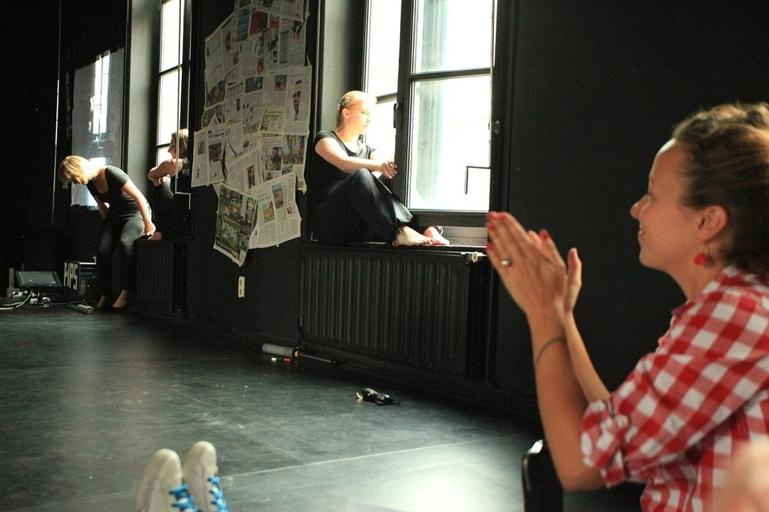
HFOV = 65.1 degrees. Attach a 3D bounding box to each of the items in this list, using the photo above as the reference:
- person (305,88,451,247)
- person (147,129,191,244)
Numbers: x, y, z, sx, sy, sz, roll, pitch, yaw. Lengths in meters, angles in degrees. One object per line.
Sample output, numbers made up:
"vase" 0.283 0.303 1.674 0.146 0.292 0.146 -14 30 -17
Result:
"person" -0.070 -0.517 3.511 0.372 0.880 1.049 3 1 -41
"person" -1.961 -0.661 5.478 0.336 0.927 1.584 3 1 -22
